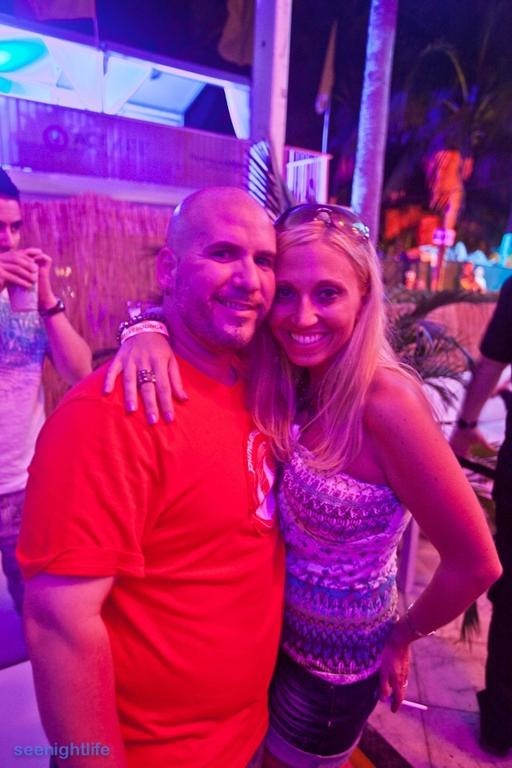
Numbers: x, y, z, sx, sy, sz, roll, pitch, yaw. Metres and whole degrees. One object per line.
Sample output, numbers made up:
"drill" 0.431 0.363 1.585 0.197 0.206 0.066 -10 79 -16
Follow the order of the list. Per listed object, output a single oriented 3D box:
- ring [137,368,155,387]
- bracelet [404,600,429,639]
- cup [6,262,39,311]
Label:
"ring" -0.270 -0.014 1.442 0.029 0.051 0.038 -3 -6 -18
"bracelet" 0.479 0.697 1.751 0.022 0.106 0.097 -19 17 -19
"cup" -0.876 -0.350 2.196 0.094 0.142 0.112 1 2 -10
